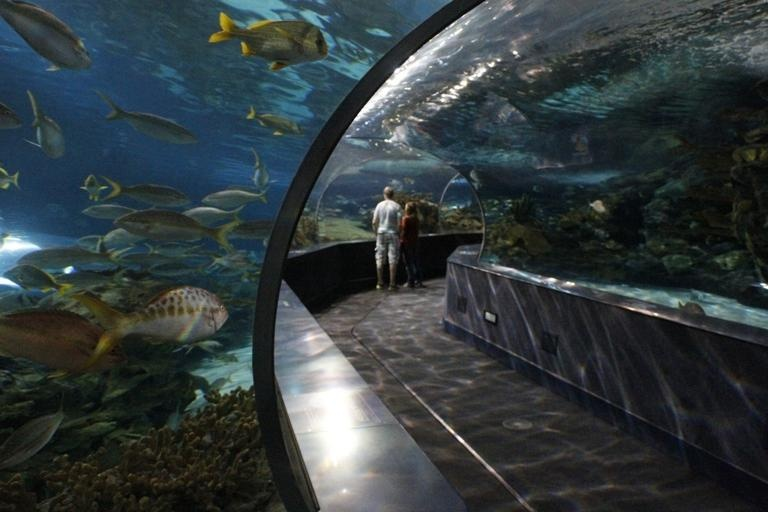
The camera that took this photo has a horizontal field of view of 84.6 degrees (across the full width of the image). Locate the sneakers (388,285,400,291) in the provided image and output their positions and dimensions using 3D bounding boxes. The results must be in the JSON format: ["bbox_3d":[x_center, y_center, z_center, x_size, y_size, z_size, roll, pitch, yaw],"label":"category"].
[{"bbox_3d":[0.222,0.738,9.743,0.173,0.094,0.266,0,-7,-9],"label":"sneakers"}]

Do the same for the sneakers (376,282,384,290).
[{"bbox_3d":[-0.123,0.706,9.991,0.190,0.130,0.165,-3,4,-20],"label":"sneakers"}]

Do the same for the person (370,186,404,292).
[{"bbox_3d":[0.099,-0.389,9.726,0.668,2.334,1.327,-4,7,-3],"label":"person"}]

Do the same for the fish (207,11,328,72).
[{"bbox_3d":[-1.262,-2.061,4.066,1.379,0.464,0.558,2,19,-10],"label":"fish"}]

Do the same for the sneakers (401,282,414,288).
[{"bbox_3d":[0.555,0.689,10.043,0.120,0.089,0.256,2,-3,-33],"label":"sneakers"}]
